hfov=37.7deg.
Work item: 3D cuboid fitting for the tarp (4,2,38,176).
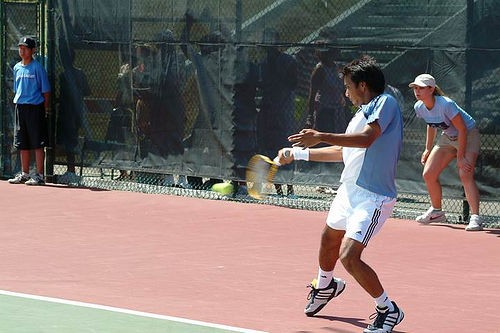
[{"bbox_3d":[-4.472,-1.483,14.196,0.839,3.311,0.734,1,-5,1],"label":"tarp"}]

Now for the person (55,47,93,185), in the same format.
[{"bbox_3d":[-3.362,-0.947,13.683,0.780,2.590,0.190,6,11,32],"label":"person"}]

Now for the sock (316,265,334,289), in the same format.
[{"bbox_3d":[0.753,1.119,7.353,0.160,0.199,0.129,2,10,6],"label":"sock"}]

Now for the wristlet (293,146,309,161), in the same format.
[{"bbox_3d":[0.509,-0.143,7.246,0.153,0.163,0.261,1,10,3],"label":"wristlet"}]

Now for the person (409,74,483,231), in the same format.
[{"bbox_3d":[2.817,-0.202,10.411,1.051,2.219,0.474,3,9,14],"label":"person"}]

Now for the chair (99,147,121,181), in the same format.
[{"bbox_3d":[-2.628,-0.068,13.661,0.382,0.722,0.885,-2,10,-14],"label":"chair"}]

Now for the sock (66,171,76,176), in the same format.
[{"bbox_3d":[-3.423,0.126,13.955,0.091,0.094,0.023,17,46,6],"label":"sock"}]

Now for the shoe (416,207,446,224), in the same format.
[{"bbox_3d":[2.686,0.732,10.764,0.464,0.259,0.168,1,2,8],"label":"shoe"}]

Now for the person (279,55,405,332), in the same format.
[{"bbox_3d":[1.038,0.257,6.993,0.951,2.585,0.659,4,10,22],"label":"person"}]

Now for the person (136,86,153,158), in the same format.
[{"bbox_3d":[-1.841,-0.824,12.858,0.344,1.236,0.088,5,10,27],"label":"person"}]

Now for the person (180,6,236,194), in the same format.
[{"bbox_3d":[-0.684,-1.238,12.170,1.071,2.827,0.289,9,12,43],"label":"person"}]

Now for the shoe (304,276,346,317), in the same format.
[{"bbox_3d":[0.771,1.308,7.388,0.255,0.317,0.759,4,6,30],"label":"shoe"}]

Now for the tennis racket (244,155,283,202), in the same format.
[{"bbox_3d":[0.134,0.121,7.546,0.288,0.499,0.411,-4,11,-24],"label":"tennis racket"}]

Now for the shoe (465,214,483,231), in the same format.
[{"bbox_3d":[3.237,0.789,10.495,0.295,0.265,0.204,0,10,-2],"label":"shoe"}]

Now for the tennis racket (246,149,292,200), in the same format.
[{"bbox_3d":[0.170,0.067,7.543,0.363,0.565,0.490,-3,10,-21],"label":"tennis racket"}]

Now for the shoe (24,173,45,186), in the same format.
[{"bbox_3d":[-3.969,0.237,13.576,0.411,0.212,0.146,7,-7,-42],"label":"shoe"}]

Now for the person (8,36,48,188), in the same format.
[{"bbox_3d":[-4.083,-1.043,13.585,0.815,2.716,0.659,7,11,34],"label":"person"}]
